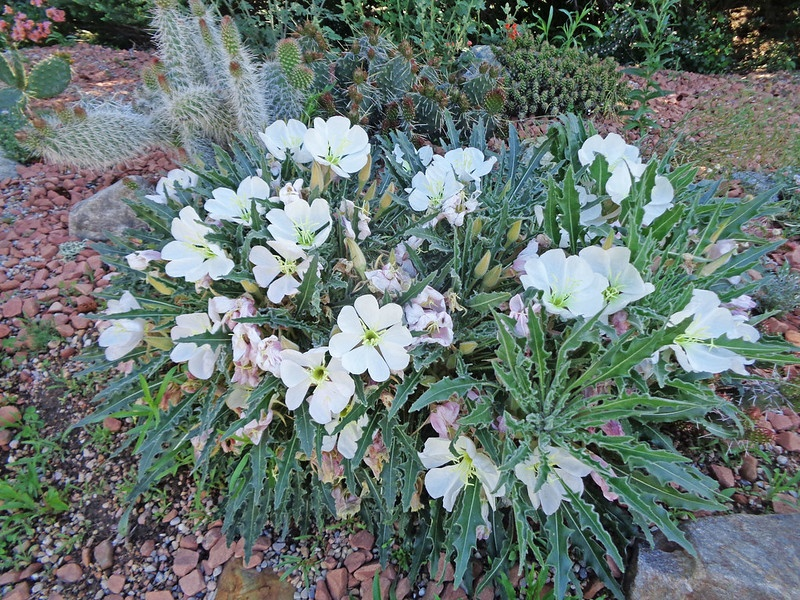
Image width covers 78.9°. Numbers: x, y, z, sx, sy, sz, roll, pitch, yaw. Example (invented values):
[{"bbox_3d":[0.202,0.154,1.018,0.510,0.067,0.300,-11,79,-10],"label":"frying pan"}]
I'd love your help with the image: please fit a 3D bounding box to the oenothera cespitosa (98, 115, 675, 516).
[{"bbox_3d":[0.121,0.275,2.192,1.846,0.984,1.729,-20,54,-2],"label":"oenothera cespitosa"}]
